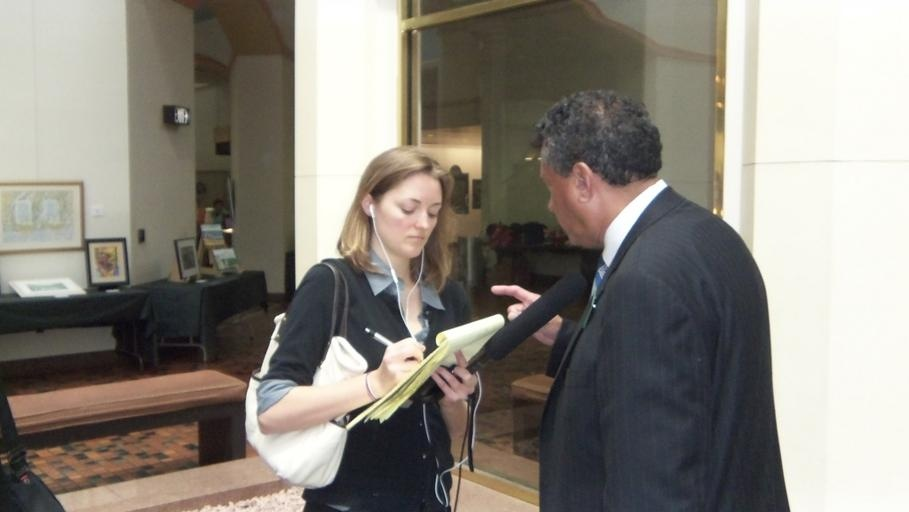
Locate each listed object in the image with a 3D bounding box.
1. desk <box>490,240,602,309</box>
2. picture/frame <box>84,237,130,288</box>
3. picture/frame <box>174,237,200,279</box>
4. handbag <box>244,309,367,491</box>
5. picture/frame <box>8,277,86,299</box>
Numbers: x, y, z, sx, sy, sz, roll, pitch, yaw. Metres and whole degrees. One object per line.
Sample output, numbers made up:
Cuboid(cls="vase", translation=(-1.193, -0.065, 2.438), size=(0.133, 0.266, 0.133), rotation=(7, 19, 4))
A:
Cuboid(cls="desk", translation=(0.712, 0.302, 5.396), size=(0.830, 0.505, 0.447), rotation=(11, 17, 42))
Cuboid(cls="picture/frame", translation=(-4.037, 0.108, 8.259), size=(0.070, 0.599, 0.543), rotation=(-11, 2, 42))
Cuboid(cls="picture/frame", translation=(-3.269, 0.074, 8.738), size=(0.053, 0.462, 0.496), rotation=(-6, 3, 14))
Cuboid(cls="handbag", translation=(-0.810, 0.839, 3.933), size=(0.694, 0.962, 0.284), rotation=(-3, 8, 3))
Cuboid(cls="picture/frame", translation=(-4.399, 0.371, 7.733), size=(0.665, 0.221, 0.429), rotation=(-8, 8, -33))
